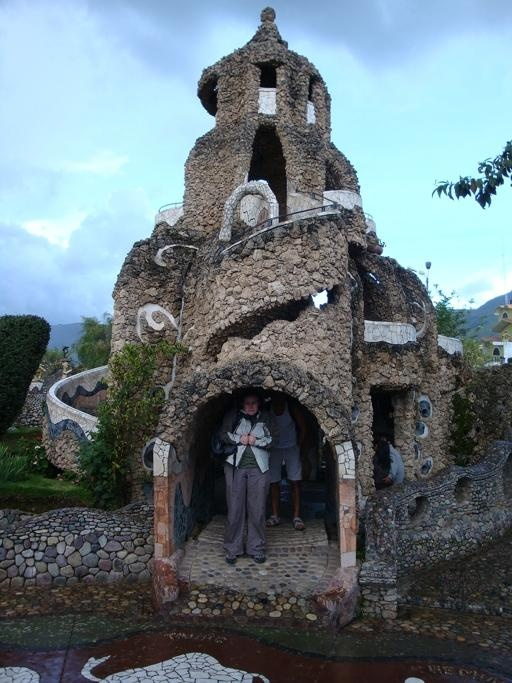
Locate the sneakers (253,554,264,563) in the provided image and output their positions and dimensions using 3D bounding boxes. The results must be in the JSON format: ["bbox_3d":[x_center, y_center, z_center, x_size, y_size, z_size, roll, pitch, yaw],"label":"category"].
[{"bbox_3d":[0.041,2.380,6.488,0.136,0.067,0.122,1,6,2],"label":"sneakers"}]

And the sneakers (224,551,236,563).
[{"bbox_3d":[-0.267,2.366,6.449,0.123,0.081,0.183,2,6,6],"label":"sneakers"}]

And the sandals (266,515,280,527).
[{"bbox_3d":[0.223,2.307,7.570,0.152,0.159,0.391,-3,-13,15],"label":"sandals"}]

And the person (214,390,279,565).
[{"bbox_3d":[-0.119,1.492,6.625,0.585,1.808,0.633,1,6,-2],"label":"person"}]
